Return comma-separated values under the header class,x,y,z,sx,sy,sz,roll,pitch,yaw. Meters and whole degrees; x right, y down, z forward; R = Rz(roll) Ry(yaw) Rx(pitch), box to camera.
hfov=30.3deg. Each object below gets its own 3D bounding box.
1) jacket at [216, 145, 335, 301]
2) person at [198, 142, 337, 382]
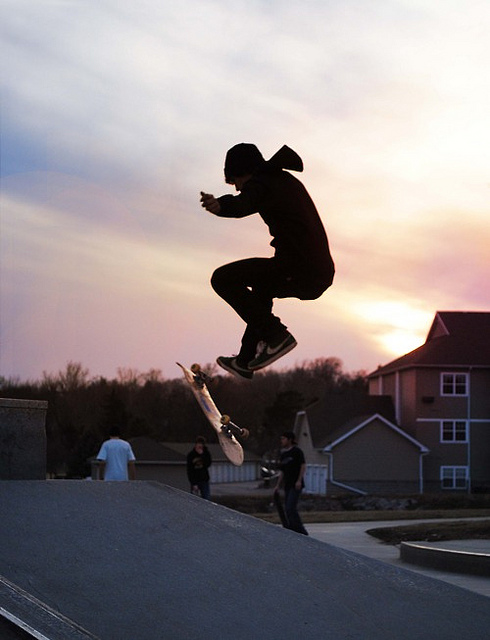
class,x,y,z,sx,sy,sz,roll,pitch,yaw
jacket,0.193,-0.566,5.362,0.474,0.709,1.083,-5,14,34
person,0.162,-0.349,5.625,0.793,1.437,1.337,2,-5,3
